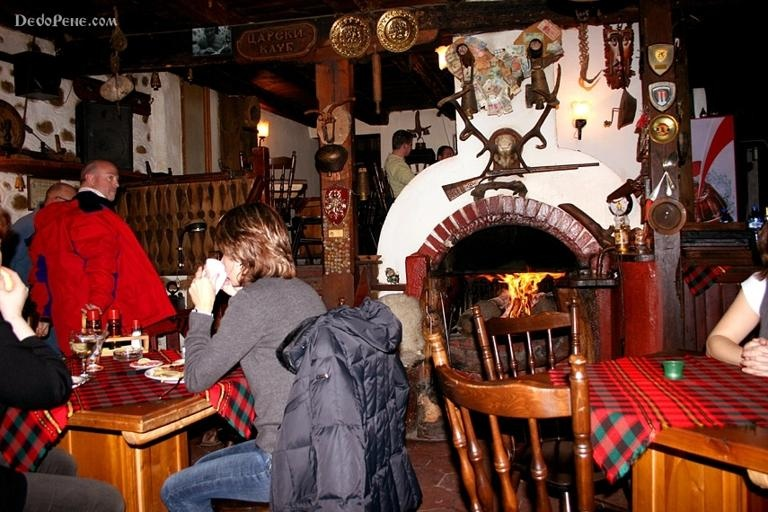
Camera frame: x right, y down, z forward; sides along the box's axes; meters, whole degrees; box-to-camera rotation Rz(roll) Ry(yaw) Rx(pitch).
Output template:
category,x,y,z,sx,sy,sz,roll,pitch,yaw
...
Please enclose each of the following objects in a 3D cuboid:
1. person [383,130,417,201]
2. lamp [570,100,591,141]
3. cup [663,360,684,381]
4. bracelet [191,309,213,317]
category,x,y,z,sx,sy,sz,roll,pitch,yaw
person,0.179,-1.111,7.386,0.356,0.906,0.886,0,-1,0
lamp,2.072,-1.435,6.441,0.175,0.398,0.166,-1,-1,19
cup,1.466,0.575,3.090,0.086,0.080,0.093,1,-7,0
bracelet,-0.945,0.294,3.226,0.052,0.032,0.075,8,-1,25
